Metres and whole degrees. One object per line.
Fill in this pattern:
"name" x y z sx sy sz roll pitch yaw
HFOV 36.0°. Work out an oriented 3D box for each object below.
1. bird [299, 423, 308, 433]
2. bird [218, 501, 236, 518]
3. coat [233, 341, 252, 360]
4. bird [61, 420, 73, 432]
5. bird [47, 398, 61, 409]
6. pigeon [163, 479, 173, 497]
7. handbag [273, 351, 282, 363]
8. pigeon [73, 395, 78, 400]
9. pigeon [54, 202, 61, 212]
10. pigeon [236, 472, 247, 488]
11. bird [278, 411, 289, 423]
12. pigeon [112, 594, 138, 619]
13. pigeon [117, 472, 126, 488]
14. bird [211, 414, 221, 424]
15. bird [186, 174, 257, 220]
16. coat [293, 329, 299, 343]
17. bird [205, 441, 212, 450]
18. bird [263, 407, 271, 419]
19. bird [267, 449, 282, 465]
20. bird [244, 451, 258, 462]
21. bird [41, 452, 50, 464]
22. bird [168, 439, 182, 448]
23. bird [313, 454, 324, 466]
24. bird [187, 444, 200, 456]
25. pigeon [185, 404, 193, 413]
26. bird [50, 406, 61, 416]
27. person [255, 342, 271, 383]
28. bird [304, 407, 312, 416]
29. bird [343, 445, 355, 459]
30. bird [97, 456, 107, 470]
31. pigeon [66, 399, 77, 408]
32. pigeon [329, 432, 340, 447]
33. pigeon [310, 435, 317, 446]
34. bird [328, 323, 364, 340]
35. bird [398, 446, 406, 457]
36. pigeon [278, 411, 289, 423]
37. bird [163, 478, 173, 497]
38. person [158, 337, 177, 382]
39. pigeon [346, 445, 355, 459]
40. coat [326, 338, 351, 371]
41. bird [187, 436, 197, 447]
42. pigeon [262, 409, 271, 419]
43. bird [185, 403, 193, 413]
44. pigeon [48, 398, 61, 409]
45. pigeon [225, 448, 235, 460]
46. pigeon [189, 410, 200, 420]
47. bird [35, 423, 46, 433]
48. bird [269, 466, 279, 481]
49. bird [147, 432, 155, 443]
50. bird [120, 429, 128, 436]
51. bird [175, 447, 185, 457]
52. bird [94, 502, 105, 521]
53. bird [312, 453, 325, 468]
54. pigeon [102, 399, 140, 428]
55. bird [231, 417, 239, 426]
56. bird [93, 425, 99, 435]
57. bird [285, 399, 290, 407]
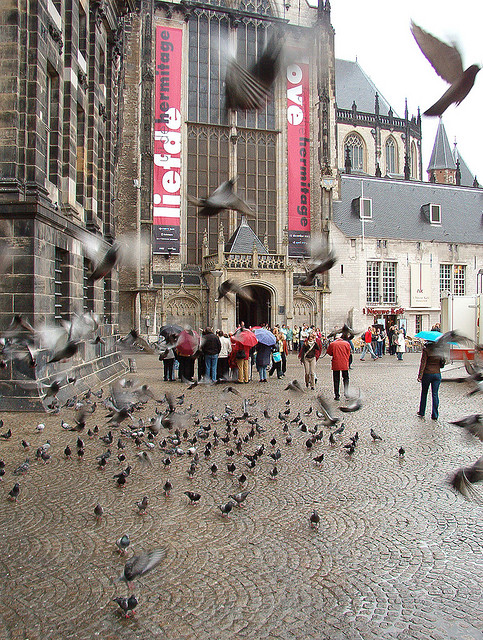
"bird" 0.847 1.469 10.296 0.096 0.147 0.074 -19 -38 9
"bird" -0.167 1.666 6.577 0.190 0.156 0.084 1 -6 -30
"coat" 0.008 0.692 18.433 0.296 0.528 0.526 6 -4 -3
"bird" -2.531 1.525 10.781 0.099 0.196 0.249 -12 -16 11
"bird" -3.126 1.385 12.362 0.156 0.173 0.143 39 19 -24
"pigeon" -0.711 1.623 7.339 0.073 0.142 0.195 1 -35 -6
"handbag" 0.933 0.935 19.547 0.285 0.302 0.206 0 21 9
"pigeon" -2.926 1.342 13.136 0.106 0.078 0.184 8 -12 -15
"pigeon" -3.750 -2.304 15.178 0.118 0.151 0.258 -1 32 -4
"pigeon" 0.014 1.627 7.636 0.092 0.181 0.164 3 -6 8
"bird" 0.614 1.474 11.492 0.084 0.132 0.170 -12 -25 23
"pigeon" -0.727 1.820 4.799 0.207 0.148 0.098 12 5 43
"pigeon" -1.221 1.615 7.560 0.080 0.205 0.335 1 2 -9
"bird" -0.410 1.527 11.544 0.109 0.150 0.341 -2 -11 -1
"bird" -0.164 -1.074 6.762 0.590 0.370 0.586 -13 -9 38
"coat" 2.353 0.670 32.917 0.370 0.730 0.491 -1 6 -4
"bird" -0.413 1.565 9.391 0.065 0.114 0.119 -4 -33 2
"bird" 0.406 1.461 11.773 0.070 0.143 0.225 -5 22 -10
"bird" 0.412 1.533 8.483 0.119 0.199 0.206 3 -11 -30
"bird" 0.100 1.508 8.273 0.056 0.139 0.185 8 0 15
"bird" -2.261 1.574 8.567 0.091 0.158 0.277 1 2 -15
"bird" -0.812 1.490 9.126 0.051 0.108 0.166 2 16 -35
"bird" 0.891 1.616 8.649 0.091 0.138 0.240 1 2 9
"bird" -0.585 1.515 8.803 0.102 0.103 0.155 3 -30 3
"pigeon" -0.820 1.378 11.675 0.080 0.119 0.265 -4 -25 -6
"bird" -3.063 1.505 12.333 0.113 0.047 0.172 4 23 20
"person" 0.507 0.968 19.190 0.414 1.251 0.376 10 -17 -31
"bird" 1.100 1.450 12.112 0.116 0.177 0.066 27 -26 -33
"bird" 1.294 1.594 9.133 0.069 0.186 0.185 7 -7 0
"bird" -1.563 1.590 8.348 0.100 0.187 0.102 0 -4 15
"pigeon" -2.917 1.417 12.790 0.059 0.178 0.111 42 6 -13
"pigeon" 1.250 1.610 10.070 0.080 0.205 0.158 7 -44 -28
"pigeon" 0.948 1.577 9.790 0.073 0.136 0.195 -4 -38 5
"bird" 3.613 0.346 26.212 1.099 0.460 1.158 1 8 16
"bird" 1.939 1.609 8.985 0.074 0.158 0.104 -5 17 6
"pigeon" 0.615 1.475 11.513 0.085 0.133 0.171 -12 -23 23
"bird" -0.725 1.635 7.329 0.068 0.123 0.186 0 2 -2
"person" -1.849 0.918 18.377 0.377 1.253 0.375 3 -24 -11
"pigeon" 1.332 1.595 9.154 0.088 0.159 0.216 1 2 3
"coat" 1.924 0.681 14.907 0.440 0.666 0.355 1 1 6
"bird" -0.605 1.509 9.303 0.129 0.109 0.082 -11 -2 -21
"pigeon" 0.408 1.502 11.718 0.093 0.190 0.118 -22 4 -32
"bird" -0.829 1.381 11.578 0.070 0.170 0.048 -4 33 -34
"pigeon" -3.118 1.370 12.359 0.143 0.169 0.140 25 -14 -21
"pigeon" -0.138 1.581 8.970 0.075 0.137 0.129 0 -15 2
"pigeon" -0.712 1.387 11.028 0.116 0.209 0.306 1 -3 12
"bird" -2.805 1.496 10.387 0.180 0.133 0.118 3 -3 37
"bird" 0.344 1.635 7.920 0.078 0.167 0.140 2 4 13
"bird" -1.247 1.595 10.202 0.071 0.151 0.194 1 -7 -2
"bird" -1.602 1.523 10.148 0.077 0.096 0.159 1 2 -4
"bird" -0.744 1.557 8.840 0.075 0.068 0.105 8 5 -18
"bird" -1.248 1.677 6.571 0.060 0.136 0.200 1 -3 -3
"bird" 0.913 1.607 8.659 0.062 0.155 0.201 -1 -23 29
"pigeon" -1.689 1.305 10.403 0.458 0.250 0.466 -34 -15 24
"bird" -0.093 1.469 10.801 0.069 0.119 0.073 -10 31 -14
"bird" -1.981 1.489 10.124 0.052 0.125 0.048 2 14 -10
"bird" 0.770 1.409 12.851 0.055 0.094 0.109 13 -42 20
